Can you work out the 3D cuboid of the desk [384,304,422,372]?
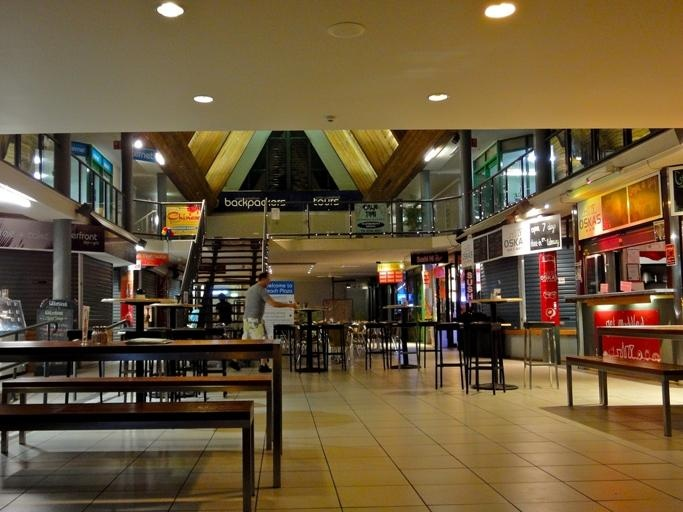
[{"bbox_3d":[1.459,2.144,14.523,1.158,1.524,1.184,3,13,45],"label":"desk"}]
